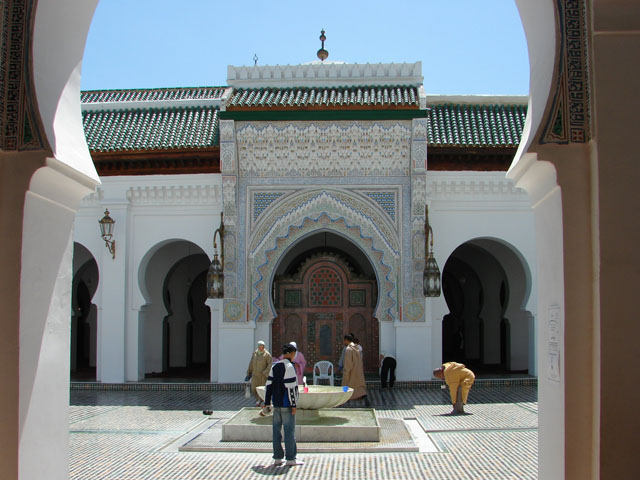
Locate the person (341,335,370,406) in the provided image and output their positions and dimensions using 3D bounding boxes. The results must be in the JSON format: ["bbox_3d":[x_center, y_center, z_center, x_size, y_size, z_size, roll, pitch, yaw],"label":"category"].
[{"bbox_3d":[0.485,1.837,9.535,0.377,0.995,1.231,-2,-11,3],"label":"person"}]

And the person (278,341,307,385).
[{"bbox_3d":[-0.348,1.897,9.725,0.292,0.902,0.259,-2,26,11],"label":"person"}]

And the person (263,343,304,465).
[{"bbox_3d":[-0.377,1.671,6.579,0.309,1.008,0.373,-1,-10,-5],"label":"person"}]

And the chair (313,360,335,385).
[{"bbox_3d":[0.059,2.324,11.821,0.345,0.591,0.418,0,-34,2],"label":"chair"}]

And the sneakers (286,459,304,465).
[{"bbox_3d":[-0.237,2.150,6.553,0.186,0.051,0.084,5,-13,-30],"label":"sneakers"}]
